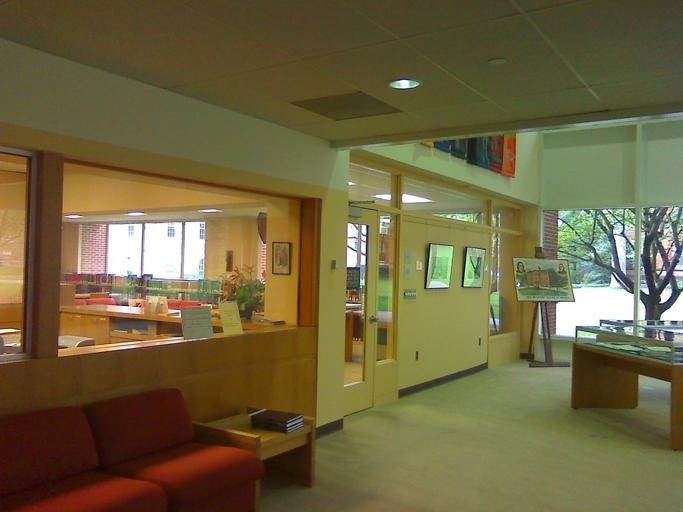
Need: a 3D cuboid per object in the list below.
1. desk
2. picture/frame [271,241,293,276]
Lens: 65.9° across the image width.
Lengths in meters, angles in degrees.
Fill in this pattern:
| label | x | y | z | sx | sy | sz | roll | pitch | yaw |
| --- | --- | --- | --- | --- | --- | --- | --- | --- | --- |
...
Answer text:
| label | x | y | z | sx | sy | sz | roll | pitch | yaw |
| --- | --- | --- | --- | --- | --- | --- | --- | --- | --- |
| desk | -0.749 | 1.624 | 4.572 | 0.673 | 0.747 | 0.890 | 2 | 0 | 32 |
| picture/frame | -0.665 | 0.036 | 5.947 | 0.354 | 0.506 | 0.052 | -3 | -5 | 40 |
